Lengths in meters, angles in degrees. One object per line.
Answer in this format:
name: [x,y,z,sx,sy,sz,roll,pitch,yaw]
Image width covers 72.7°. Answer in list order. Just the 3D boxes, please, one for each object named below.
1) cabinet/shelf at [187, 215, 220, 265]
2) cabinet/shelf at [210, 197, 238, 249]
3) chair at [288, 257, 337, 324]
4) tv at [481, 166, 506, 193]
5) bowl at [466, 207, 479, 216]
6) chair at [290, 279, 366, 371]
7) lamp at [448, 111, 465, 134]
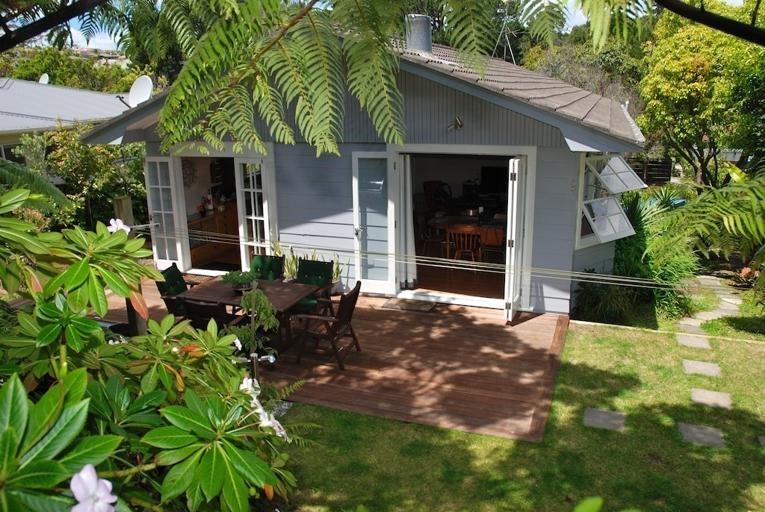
cabinet/shelf: [-4.360,-0.399,12.592,0.294,0.693,1.066,0,12,4]
cabinet/shelf: [-4.061,-0.841,13.217,0.417,1.099,1.129,3,11,14]
chair: [-1.147,0.512,8.417,0.626,0.953,0.848,1,7,13]
tv: [3.764,-2.550,17.488,0.907,1.001,0.095,1,-4,10]
bowl: [2.236,-1.069,12.830,0.337,0.223,0.335,-1,4,0]
chair: [-0.881,0.907,7.638,1.068,1.622,1.174,3,11,9]
lamp: [1.284,-2.313,8.994,0.203,0.311,0.107,18,2,27]
